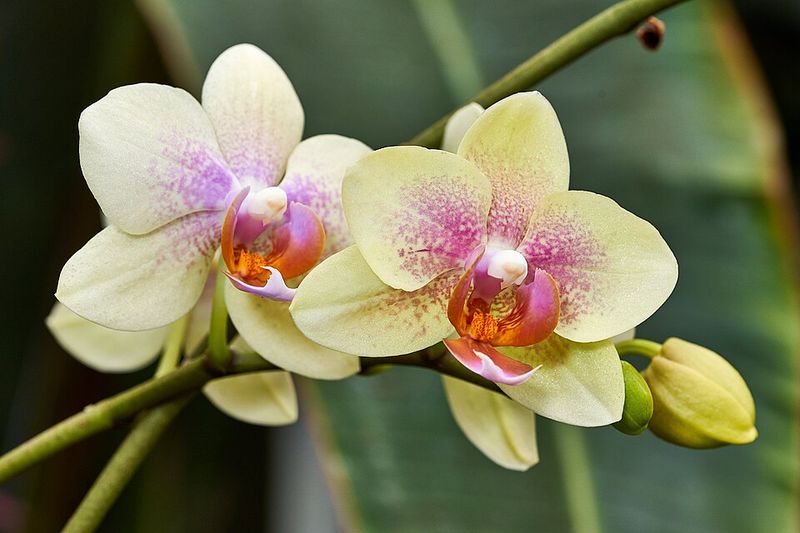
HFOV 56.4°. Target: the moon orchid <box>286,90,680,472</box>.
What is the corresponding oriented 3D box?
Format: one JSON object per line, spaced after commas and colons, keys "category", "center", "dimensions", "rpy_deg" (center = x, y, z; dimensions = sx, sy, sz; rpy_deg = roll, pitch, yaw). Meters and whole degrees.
{"category": "moon orchid", "center": [0.107, -0.003, 0.844], "dimensions": [0.345, 0.123, 0.435], "rpy_deg": [-15, 89, -8]}
